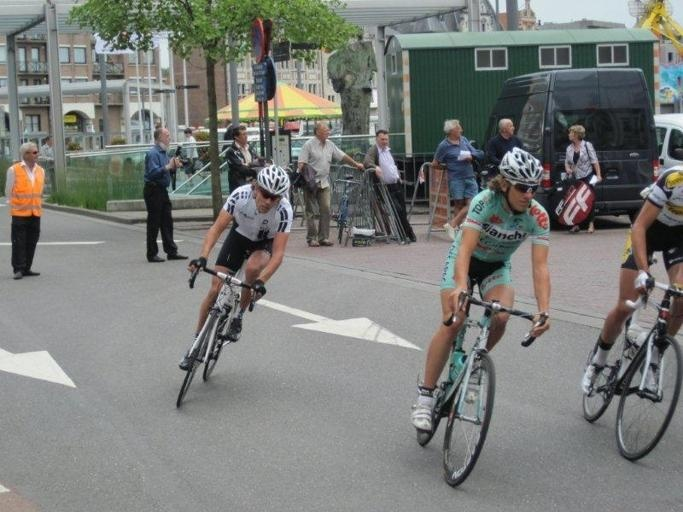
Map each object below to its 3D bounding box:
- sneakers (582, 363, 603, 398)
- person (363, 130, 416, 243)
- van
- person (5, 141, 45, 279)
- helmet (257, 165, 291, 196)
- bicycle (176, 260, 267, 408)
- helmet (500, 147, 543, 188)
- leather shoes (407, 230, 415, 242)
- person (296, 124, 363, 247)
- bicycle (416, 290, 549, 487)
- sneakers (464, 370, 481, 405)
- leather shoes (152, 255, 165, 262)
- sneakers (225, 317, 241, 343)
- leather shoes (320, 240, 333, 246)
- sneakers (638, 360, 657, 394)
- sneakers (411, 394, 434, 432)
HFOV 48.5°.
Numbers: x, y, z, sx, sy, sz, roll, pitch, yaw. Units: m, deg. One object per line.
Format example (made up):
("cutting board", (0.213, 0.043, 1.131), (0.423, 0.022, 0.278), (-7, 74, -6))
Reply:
("sneakers", (1.884, 0.937, 5.745), (0.092, 0.341, 0.129), (16, -5, 27))
("person", (0.941, -1.359, 15.030), (1.011, 2.186, 0.763), (-3, 9, -13))
("van", (5.237, -2.749, 18.153), (2.342, 3.249, 4.695), (-1, 8, -4))
("person", (-5.182, -0.753, 12.402), (0.599, 2.093, 1.106), (-5, 10, -23))
("helmet", (-0.575, -0.637, 6.188), (0.173, 0.317, 0.110), (10, -25, -22))
("bicycle", (-1.070, 0.579, 6.437), (0.664, 1.172, 1.073), (-2, 10, -9))
("helmet", (1.122, -0.532, 4.843), (0.181, 0.315, 0.138), (-8, -9, -8))
("leather shoes", (1.384, -0.388, 15.169), (0.122, 0.215, 0.065), (3, -10, -31))
("person", (-0.427, -1.356, 14.725), (1.064, 2.401, 0.867), (-7, 11, -33))
("bicycle", (0.811, 0.797, 4.770), (0.688, 1.153, 1.016), (0, 10, 6))
("sneakers", (0.794, 0.794, 4.594), (0.097, 0.208, 0.050), (-9, -32, 40))
("leather shoes", (-3.277, 0.067, 13.425), (0.223, 0.124, 0.100), (-2, 11, -5))
("sneakers", (-0.941, 0.626, 6.494), (0.098, 0.233, 0.145), (18, -3, 17))
("leather shoes", (-0.327, -0.240, 14.999), (0.096, 0.149, 0.271), (5, -4, -30))
("sneakers", (1.965, 0.791, 4.846), (0.089, 0.178, 0.036), (7, -3, 29))
("sneakers", (0.542, 1.036, 5.027), (0.090, 0.149, 0.290), (1, 12, 2))
